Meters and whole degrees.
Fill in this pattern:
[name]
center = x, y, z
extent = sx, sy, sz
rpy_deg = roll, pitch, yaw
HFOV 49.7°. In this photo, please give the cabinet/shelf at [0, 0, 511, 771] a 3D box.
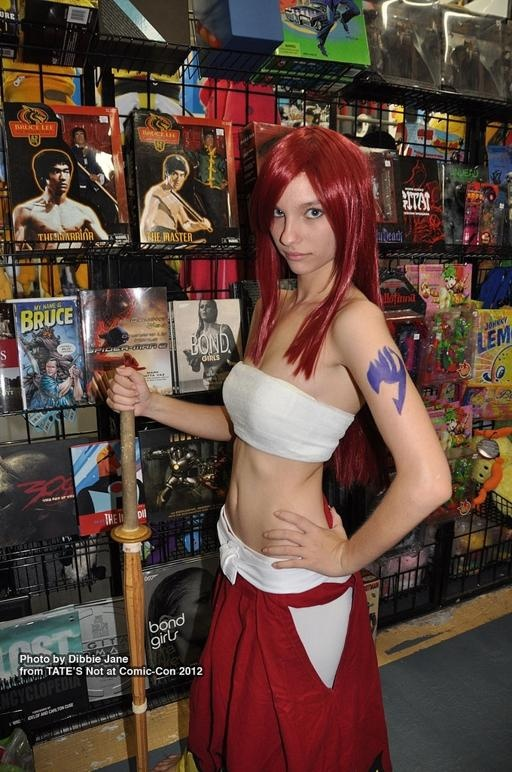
[cabinet/shelf]
center = 0.069, 0.159, 1.129
extent = 0.709, 1.286, 0.464
rpy_deg = 10, 14, 36
